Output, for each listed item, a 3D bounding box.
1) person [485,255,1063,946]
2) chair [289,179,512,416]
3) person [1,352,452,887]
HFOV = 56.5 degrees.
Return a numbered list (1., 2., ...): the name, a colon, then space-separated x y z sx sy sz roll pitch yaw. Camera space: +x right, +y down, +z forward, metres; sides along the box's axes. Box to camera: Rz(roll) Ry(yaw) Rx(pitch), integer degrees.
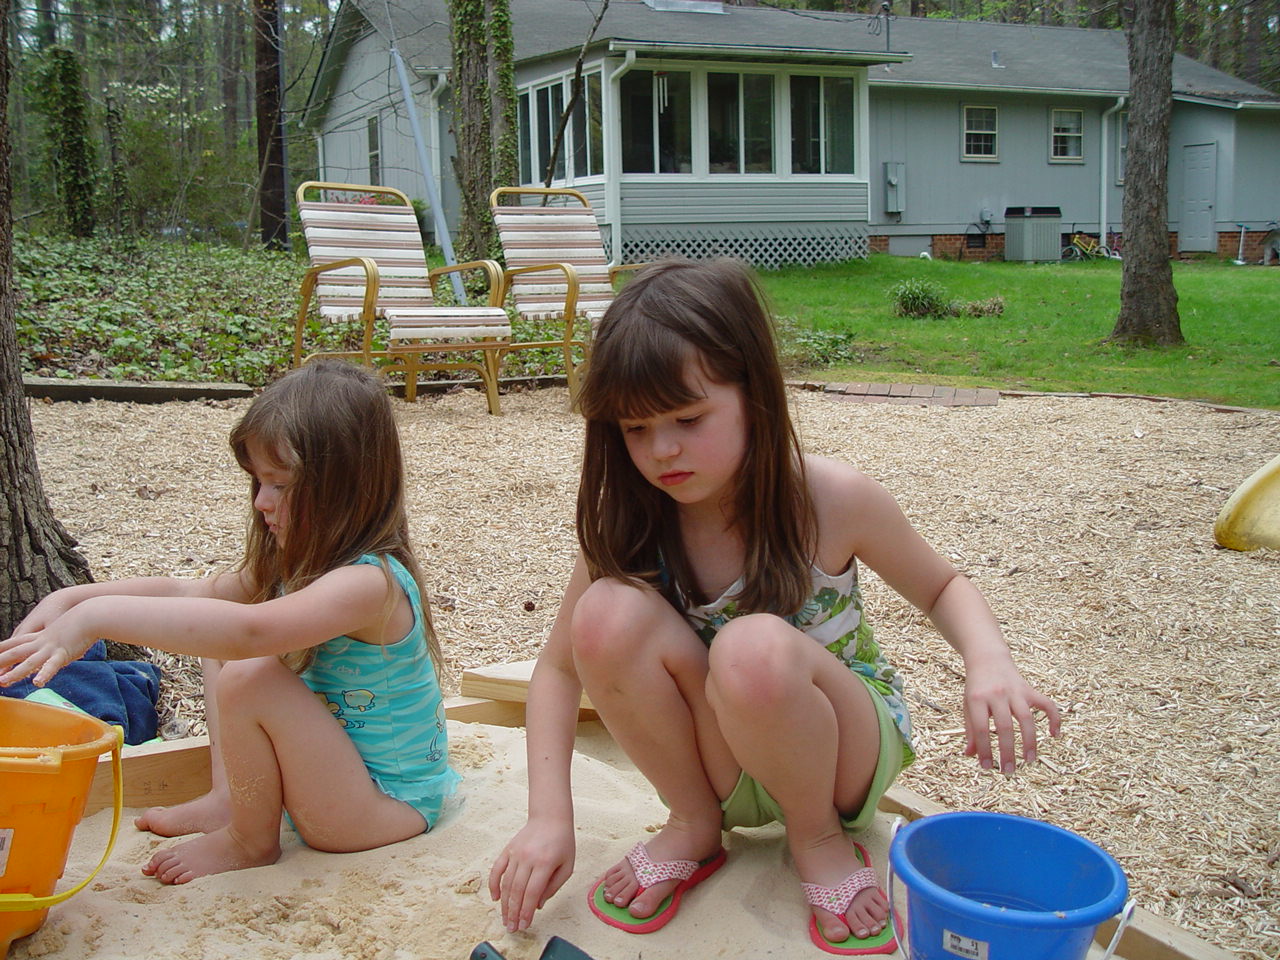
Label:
1. person: 0.177 0.184 2.088 0.862 1.118 0.443 -1 12 1
2. chair: -1.437 -1.166 6.821 0.844 1.266 1.206 1 21 -5
3. person: -0.812 0.261 2.613 1.032 1.169 0.654 2 4 -31
